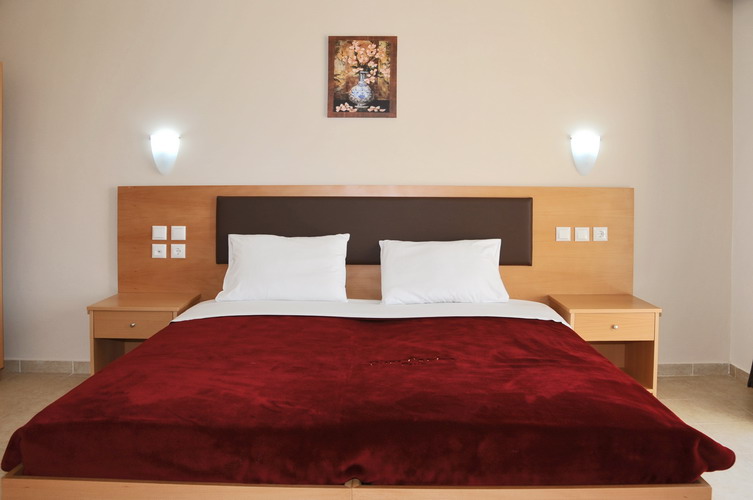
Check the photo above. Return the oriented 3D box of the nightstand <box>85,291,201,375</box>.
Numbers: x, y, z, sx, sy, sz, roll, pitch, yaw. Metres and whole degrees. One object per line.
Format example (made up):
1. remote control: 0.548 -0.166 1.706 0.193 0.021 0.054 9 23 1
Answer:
1. nightstand: -1.825 0.567 4.621 0.797 0.685 0.600 0 3 -5

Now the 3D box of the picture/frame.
1. picture/frame: -0.113 -1.436 4.681 0.717 0.716 0.039 0 0 -2

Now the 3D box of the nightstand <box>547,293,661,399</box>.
1. nightstand: 1.772 0.670 4.644 0.933 0.807 0.717 1 1 2
